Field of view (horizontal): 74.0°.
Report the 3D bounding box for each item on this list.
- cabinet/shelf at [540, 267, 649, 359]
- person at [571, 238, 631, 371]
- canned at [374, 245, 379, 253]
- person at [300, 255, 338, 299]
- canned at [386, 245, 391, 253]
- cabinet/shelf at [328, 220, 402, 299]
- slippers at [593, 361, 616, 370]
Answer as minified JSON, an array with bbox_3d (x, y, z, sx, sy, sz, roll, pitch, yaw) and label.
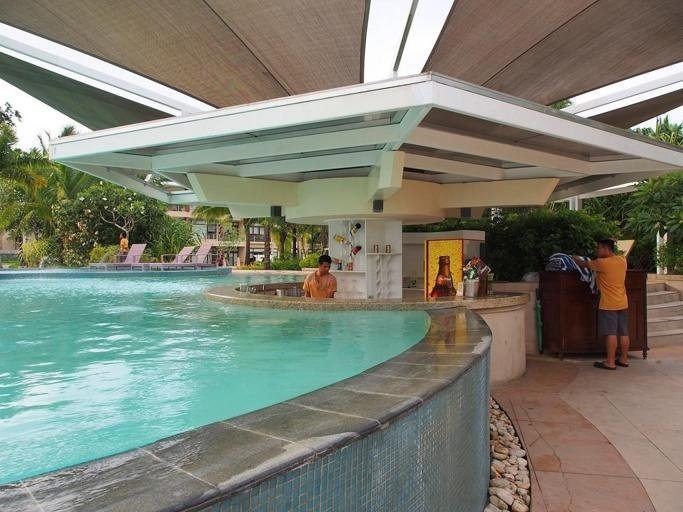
[{"bbox_3d":[4.357,0.959,7.733,1.977,1.539,1.114,-2,-5,28],"label":"cabinet/shelf"},{"bbox_3d":[4.382,0.793,7.468,0.615,2.126,0.926,-2,6,30],"label":"person"},{"bbox_3d":[0.871,-0.187,11.254,0.130,0.216,0.196,-4,5,8],"label":"canned"},{"bbox_3d":[-0.431,0.400,8.753,0.595,0.856,0.995,-5,5,-5],"label":"person"},{"bbox_3d":[1.177,-0.184,11.324,0.146,0.216,0.174,-4,5,5],"label":"canned"},{"bbox_3d":[0.625,0.039,11.226,2.531,2.436,0.823,0,-1,1],"label":"cabinet/shelf"},{"bbox_3d":[4.251,1.748,7.327,0.141,0.112,0.332,-2,3,-37],"label":"slippers"}]
